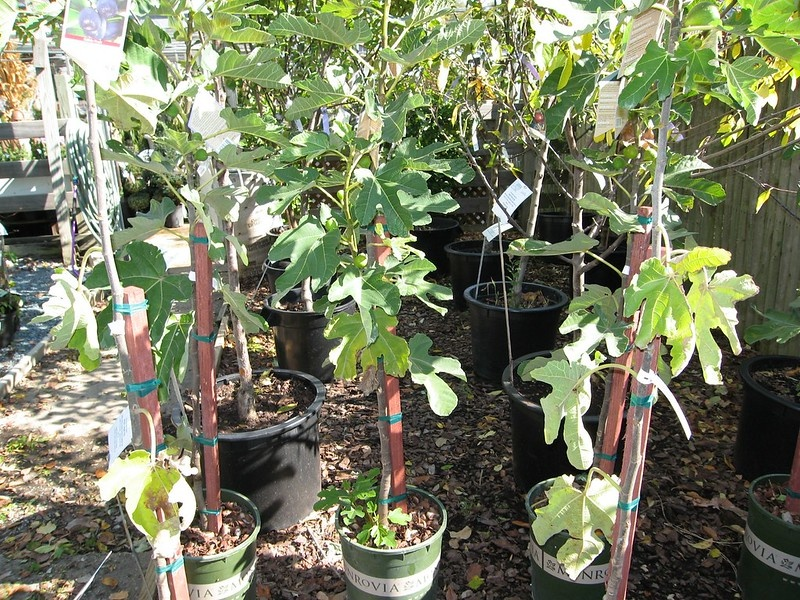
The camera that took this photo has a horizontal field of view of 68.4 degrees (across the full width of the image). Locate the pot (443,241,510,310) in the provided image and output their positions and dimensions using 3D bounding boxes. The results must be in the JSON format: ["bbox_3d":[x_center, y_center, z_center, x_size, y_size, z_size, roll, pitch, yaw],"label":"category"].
[{"bbox_3d":[0.769,-0.340,6.273,0.482,0.420,0.473,7,21,-2],"label":"pot"}]

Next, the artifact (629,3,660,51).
[{"bbox_3d":[0.735,-0.814,1.760,0.024,0.100,0.094,9,-6,-1],"label":"artifact"}]

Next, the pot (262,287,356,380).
[{"bbox_3d":[-0.755,0.279,4.810,0.791,0.620,0.712,-5,17,-26],"label":"pot"}]

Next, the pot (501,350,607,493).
[{"bbox_3d":[0.764,0.680,3.480,0.716,0.650,0.758,-2,16,1],"label":"pot"}]

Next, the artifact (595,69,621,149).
[{"bbox_3d":[0.656,-0.610,1.834,0.072,0.177,0.143,3,4,19],"label":"artifact"}]

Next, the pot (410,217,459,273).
[{"bbox_3d":[0.440,-0.684,7.297,0.755,0.615,0.789,-1,14,0],"label":"pot"}]

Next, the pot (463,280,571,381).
[{"bbox_3d":[0.927,0.184,4.712,0.804,0.672,0.793,-1,18,0],"label":"pot"}]

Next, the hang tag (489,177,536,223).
[{"bbox_3d":[0.636,-0.578,3.391,0.238,0.093,0.399,19,40,2],"label":"hang tag"}]
